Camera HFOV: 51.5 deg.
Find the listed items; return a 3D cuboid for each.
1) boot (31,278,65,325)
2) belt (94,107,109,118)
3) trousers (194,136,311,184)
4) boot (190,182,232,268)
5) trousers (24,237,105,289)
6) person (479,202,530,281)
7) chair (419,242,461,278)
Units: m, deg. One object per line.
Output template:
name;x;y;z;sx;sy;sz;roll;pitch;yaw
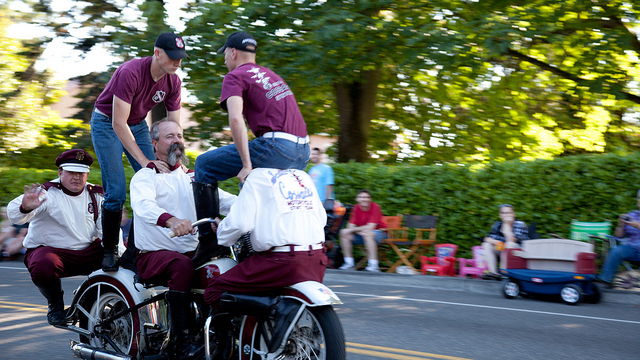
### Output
boot;-4.445;2.020;10.997;0.405;0.741;0.516;-3;11;-21
belt;-3.675;-1.143;11.225;0.168;0.031;0.151;18;-4;35
trousers;-1.072;-0.296;10.465;1.627;0.389;0.815;-8;-12;21
boot;-1.714;0.701;10.453;0.644;1.220;0.601;3;0;5
trousers;-4.235;1.382;11.026;1.137;0.298;1.067;0;-1;41
person;4.540;1.533;16.055;0.719;1.834;0.996;-7;13;-35
chair;3.147;2.059;17.137;1.106;1.041;1.008;-4;-13;32
